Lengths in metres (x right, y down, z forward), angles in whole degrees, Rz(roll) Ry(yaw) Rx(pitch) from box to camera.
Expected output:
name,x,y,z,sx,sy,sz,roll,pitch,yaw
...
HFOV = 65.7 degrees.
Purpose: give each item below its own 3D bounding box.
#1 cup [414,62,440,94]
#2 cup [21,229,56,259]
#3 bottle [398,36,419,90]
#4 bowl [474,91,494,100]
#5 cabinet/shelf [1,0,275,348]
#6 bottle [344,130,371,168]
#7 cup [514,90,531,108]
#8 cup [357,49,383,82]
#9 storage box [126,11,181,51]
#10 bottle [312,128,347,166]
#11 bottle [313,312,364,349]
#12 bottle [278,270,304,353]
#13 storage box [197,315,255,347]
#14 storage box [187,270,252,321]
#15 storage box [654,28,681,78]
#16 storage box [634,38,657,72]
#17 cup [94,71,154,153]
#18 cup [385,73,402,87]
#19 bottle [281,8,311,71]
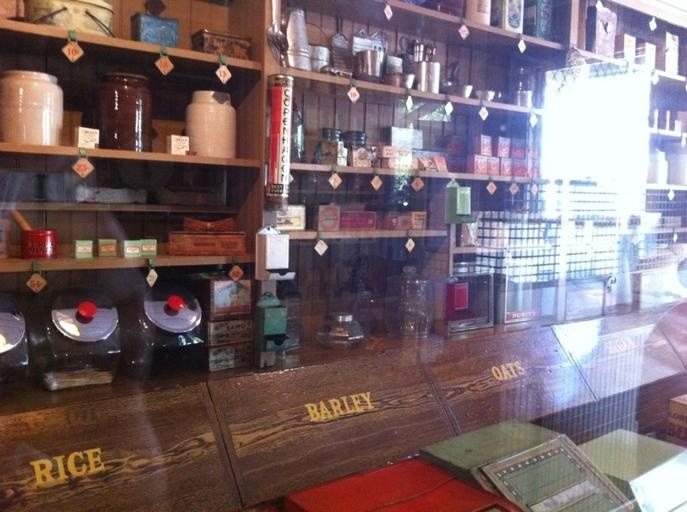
name,x,y,z,sx,sy,sz,roll,pitch,yaw
cup,0.362,-0.768,2.316,0.106,0.132,0.095,7,5,25
cup,-1.047,-0.041,1.837,0.113,0.120,0.086,-1,4,-35
bottle,0.293,-0.867,2.302,0.055,0.219,0.116,9,48,16
bowl,0.632,-0.721,2.384,0.048,0.032,0.051,1,0,0
cabinet/shelf,-0.785,-0.306,1.956,1.266,1.127,0.420,0,0,-29
bottle,0.052,-0.433,2.152,0.114,0.145,0.071,-10,18,-35
cup,0.769,-0.669,2.286,0.064,0.080,0.066,2,7,0
cup,0.105,-0.809,2.286,0.120,0.098,0.113,1,4,0
storage box,-0.704,-0.787,1.994,0.199,0.153,0.109,-2,10,-33
bottle,-0.052,-0.430,2.103,0.138,0.143,0.087,-2,15,-11
bottle,-0.020,0.309,2.210,0.192,0.145,0.202,-3,-1,0
bottle,-0.212,0.217,2.113,0.096,0.310,0.087,0,14,-2
storage box,-0.451,0.296,2.105,0.174,0.093,0.096,1,-6,-37
storage box,-0.514,0.139,2.178,0.190,0.196,0.182,-2,4,-35
storage box,1.174,-0.738,1.937,0.147,0.150,0.061,-8,16,-28
storage box,1.069,-0.710,1.889,0.111,0.098,0.044,-6,15,-23
cup,-0.791,-0.503,2.012,0.226,0.411,0.256,2,2,-20
cup,0.203,-0.736,2.232,0.054,0.045,0.057,0,0,0
bottle,-0.181,-0.860,2.112,0.101,0.225,0.048,-3,14,-12
